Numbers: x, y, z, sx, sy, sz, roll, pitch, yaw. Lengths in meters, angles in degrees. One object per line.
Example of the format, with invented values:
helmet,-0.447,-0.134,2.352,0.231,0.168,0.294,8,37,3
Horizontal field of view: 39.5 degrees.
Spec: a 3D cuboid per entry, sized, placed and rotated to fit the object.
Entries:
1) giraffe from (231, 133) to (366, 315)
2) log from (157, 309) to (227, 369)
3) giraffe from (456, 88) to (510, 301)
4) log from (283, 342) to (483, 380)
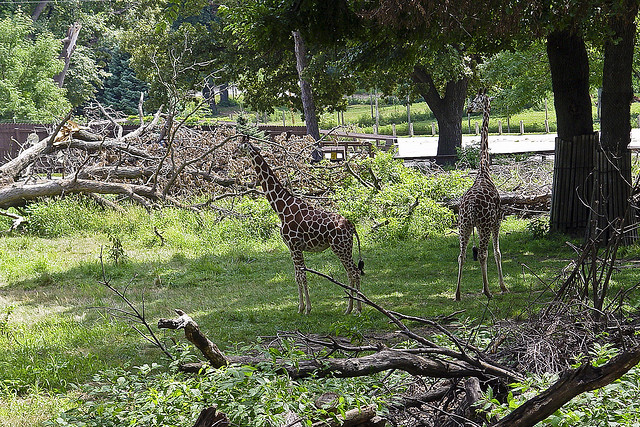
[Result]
giraffe,-0.345,0.322,20.286,2.537,3.707,1.112,1,10,36
log,-2.217,2.259,15.903,1.585,0.638,0.661,40,-10,-18
giraffe,3.672,-0.492,20.659,1.181,4.650,1.908,-4,9,11
log,1.123,2.733,15.902,3.317,0.785,0.260,-6,8,-2
